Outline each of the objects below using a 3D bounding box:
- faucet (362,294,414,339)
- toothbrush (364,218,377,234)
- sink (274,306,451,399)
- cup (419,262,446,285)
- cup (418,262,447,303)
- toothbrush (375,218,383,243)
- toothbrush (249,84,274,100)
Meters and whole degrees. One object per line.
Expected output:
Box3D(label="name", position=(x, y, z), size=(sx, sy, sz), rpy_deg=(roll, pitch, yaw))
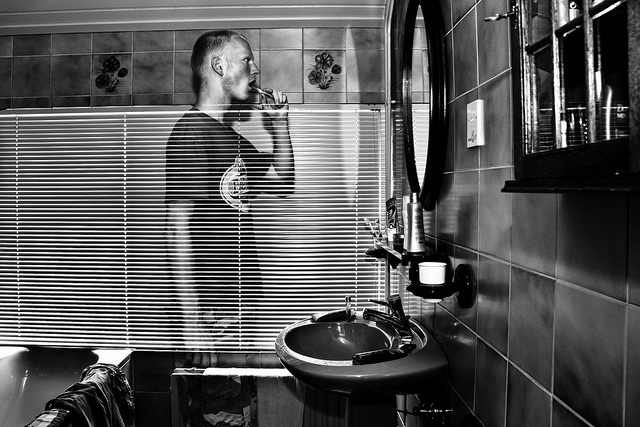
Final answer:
Box3D(label="faucet", position=(0.290, 0.418, 2.643), size=(0.247, 0.147, 0.102), rpy_deg=(12, 12, 32))
Box3D(label="toothbrush", position=(0.240, 0.057, 2.995), size=(0.028, 0.030, 0.142), rpy_deg=(2, -28, 22))
Box3D(label="sink", position=(0.182, 0.570, 2.517), size=(0.463, 0.183, 0.512), rpy_deg=(-1, 7, -12))
Box3D(label="cup", position=(0.429, 0.227, 2.364), size=(0.079, 0.049, 0.080), rpy_deg=(0, -2, 0))
Box3D(label="cup", position=(0.396, 0.268, 2.358), size=(0.135, 0.145, 0.131), rpy_deg=(0, -5, 0))
Box3D(label="toothbrush", position=(0.329, 0.102, 3.500), size=(0.027, 0.140, 0.018), rpy_deg=(-6, -8, -13))
Box3D(label="toothbrush", position=(-0.327, -0.688, 3.546), size=(0.144, 0.016, 0.028), rpy_deg=(29, 4, 13))
